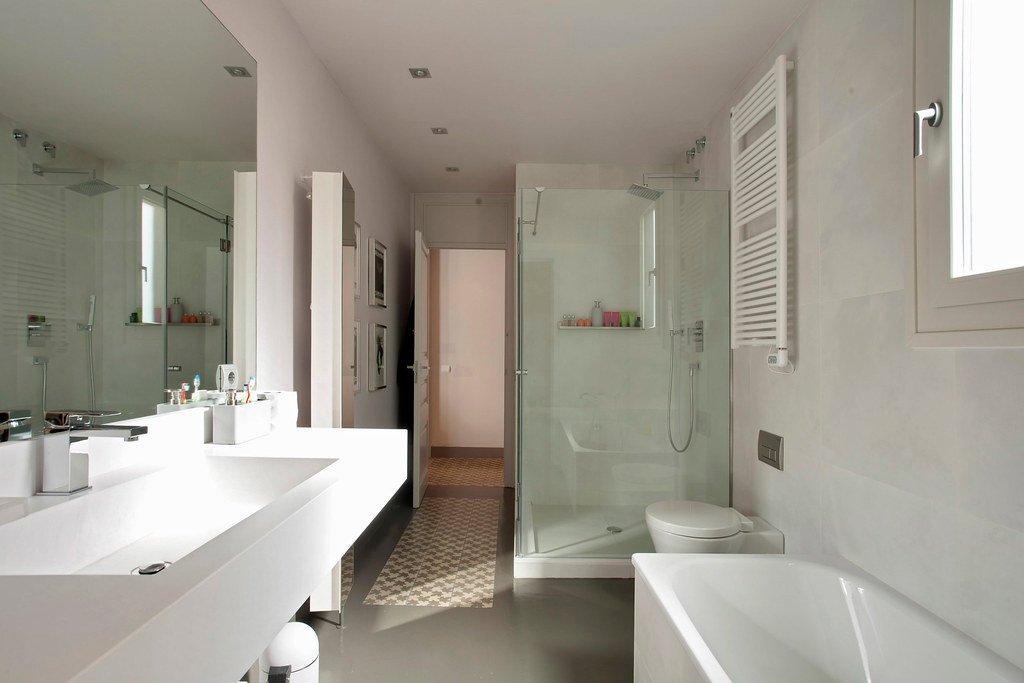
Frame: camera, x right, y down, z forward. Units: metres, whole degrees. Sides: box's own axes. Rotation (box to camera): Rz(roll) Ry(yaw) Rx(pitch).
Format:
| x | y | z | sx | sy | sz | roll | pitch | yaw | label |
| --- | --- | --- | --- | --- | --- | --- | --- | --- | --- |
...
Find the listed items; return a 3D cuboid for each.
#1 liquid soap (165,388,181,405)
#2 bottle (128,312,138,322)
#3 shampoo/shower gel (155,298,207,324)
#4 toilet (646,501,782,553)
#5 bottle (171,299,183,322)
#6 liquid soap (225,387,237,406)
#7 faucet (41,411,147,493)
| x | y | z | sx | sy | sz | roll | pitch | yaw | label |
| --- | --- | --- | --- | --- | --- | --- | --- | --- | --- |
| -1.290 | 0.220 | 2.682 | 0.062 | 0.063 | 0.037 | 1 | 1 | -20 | liquid soap |
| -1.345 | -0.087 | 2.501 | 0.025 | 0.030 | 0.027 | 1 | 6 | 0 | bottle |
| -1.277 | -0.121 | 2.687 | 0.095 | 0.103 | 0.163 | 0 | -3 | 1 | shampoo/shower gel |
| 1.042 | 1.018 | 3.747 | 0.621 | 0.207 | 0.562 | 0 | 6 | -9 | toilet |
| -1.277 | -0.121 | 2.679 | 0.041 | 0.080 | 0.071 | 0 | -2 | -12 | bottle |
| -1.142 | 0.221 | 2.853 | 0.041 | 0.067 | 0.015 | 1 | -19 | -14 | liquid soap |
| -1.346 | 0.367 | 2.340 | 0.318 | 0.246 | 0.210 | 0 | 0 | -11 | faucet |
